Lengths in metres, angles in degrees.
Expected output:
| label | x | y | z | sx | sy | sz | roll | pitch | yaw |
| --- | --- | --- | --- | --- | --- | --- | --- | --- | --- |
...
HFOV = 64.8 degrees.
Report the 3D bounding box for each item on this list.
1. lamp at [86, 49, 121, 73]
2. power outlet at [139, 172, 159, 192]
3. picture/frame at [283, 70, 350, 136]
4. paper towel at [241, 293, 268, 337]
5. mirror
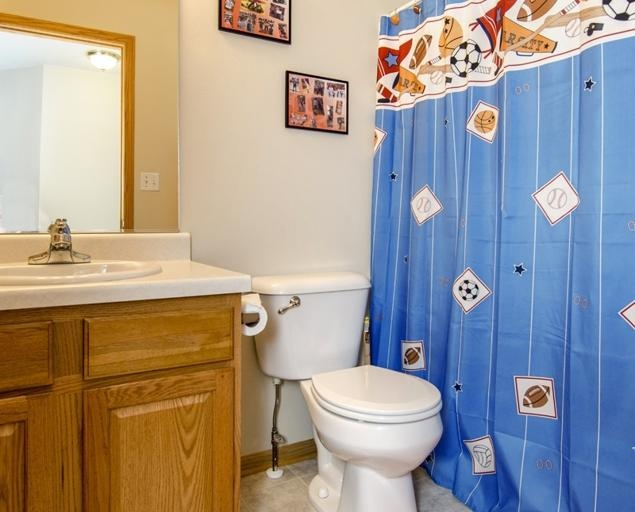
| label | x | y | z | sx | sy | sz | roll | pitch | yaw |
| --- | --- | --- | --- | --- | --- | --- | --- | --- | --- |
| lamp | -0.763 | -0.704 | 1.796 | 0.071 | 0.051 | 0.076 | 5 | 9 | 23 |
| power outlet | -0.634 | -0.279 | 1.870 | 0.068 | 0.076 | 0.007 | -1 | 1 | -32 |
| picture/frame | -0.019 | -0.670 | 2.183 | 0.274 | 0.225 | 0.011 | -3 | 6 | -30 |
| paper towel | -0.206 | 0.187 | 1.650 | 0.114 | 0.113 | 0.141 | 16 | -6 | -21 |
| mirror | -0.860 | -0.464 | 1.800 | 0.412 | 0.739 | 0.093 | -3 | 9 | -10 |
